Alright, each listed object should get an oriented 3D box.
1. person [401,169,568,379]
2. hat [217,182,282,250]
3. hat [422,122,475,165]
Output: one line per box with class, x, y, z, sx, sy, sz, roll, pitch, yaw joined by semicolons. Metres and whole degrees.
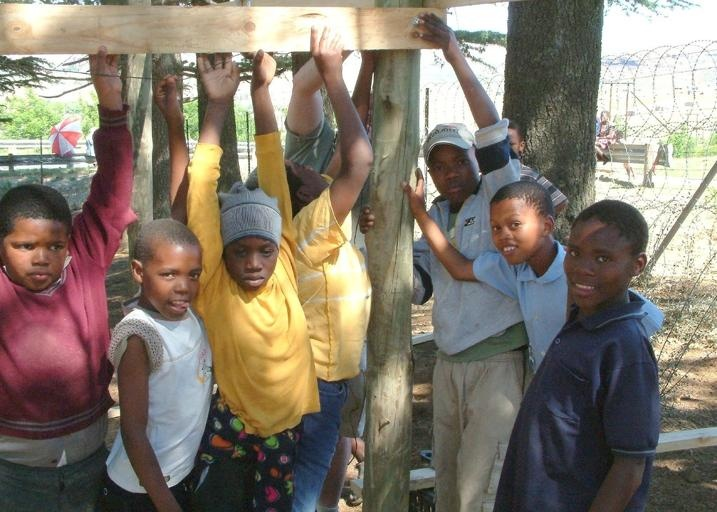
person;0.694;0.099;4.718;0.987;1.247;0.325;-17;-10;30
hat;-0.566;-0.187;4.394;0.309;0.390;0.372;5;-9;-43
hat;0.527;-0.665;4.939;0.290;0.222;0.403;-7;-2;6
